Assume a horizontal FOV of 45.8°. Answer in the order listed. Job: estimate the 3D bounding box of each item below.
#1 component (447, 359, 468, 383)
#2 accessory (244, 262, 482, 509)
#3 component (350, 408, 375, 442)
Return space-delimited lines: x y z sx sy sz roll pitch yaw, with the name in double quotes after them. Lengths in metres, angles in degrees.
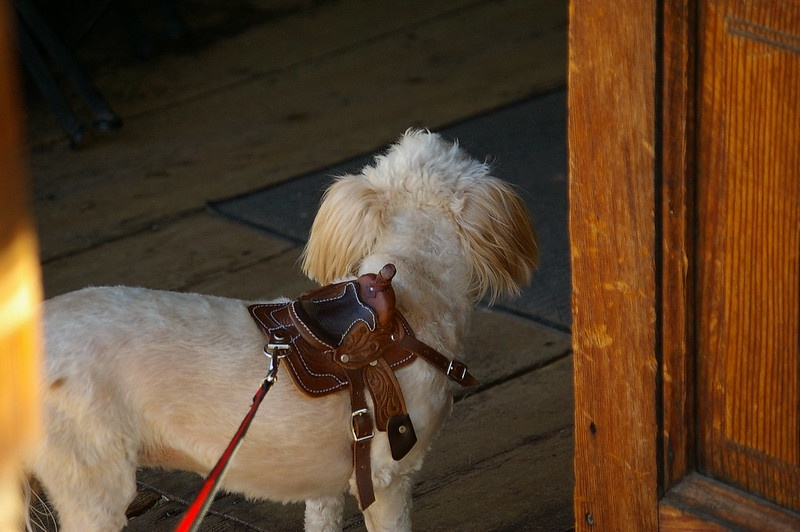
0.203 0.381 3.400 0.064 0.090 0.037 10 69 15 "component"
-0.146 0.342 3.136 0.783 0.306 0.741 28 59 -9 "accessory"
-0.128 0.535 3.241 0.093 0.101 0.114 -8 40 -12 "component"
